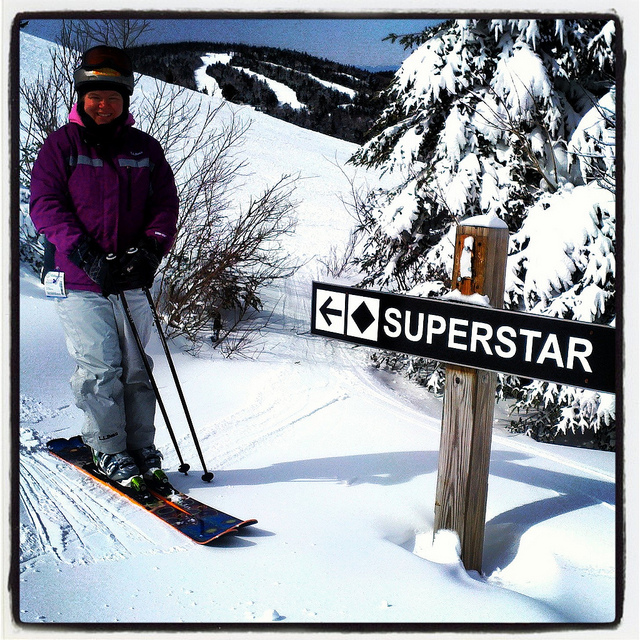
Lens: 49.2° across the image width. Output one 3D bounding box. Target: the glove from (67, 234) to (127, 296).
[{"bbox_3d":[-1.255,-0.327,4.007,0.128,0.338,0.280,-27,28,31],"label":"glove"}]
